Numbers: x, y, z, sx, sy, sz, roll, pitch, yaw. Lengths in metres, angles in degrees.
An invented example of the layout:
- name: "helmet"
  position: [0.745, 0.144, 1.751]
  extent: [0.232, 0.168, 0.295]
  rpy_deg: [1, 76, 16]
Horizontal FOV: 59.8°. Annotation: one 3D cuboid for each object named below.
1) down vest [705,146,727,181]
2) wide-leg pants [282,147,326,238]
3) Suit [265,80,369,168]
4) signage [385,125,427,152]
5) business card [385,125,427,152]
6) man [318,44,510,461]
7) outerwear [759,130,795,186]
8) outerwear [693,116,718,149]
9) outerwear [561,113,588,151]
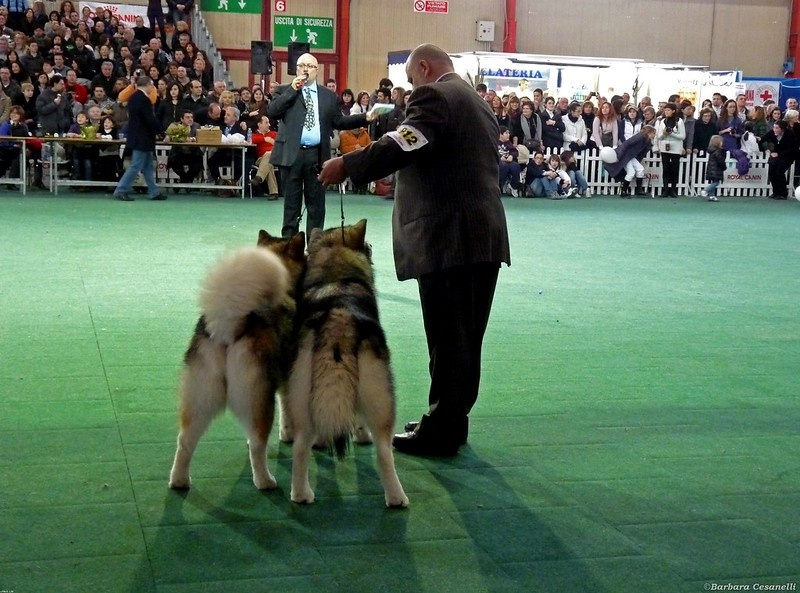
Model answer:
- name: "down vest"
  position: [9.033, -3.813, 19.858]
  extent: [0.497, 1.069, 0.657]
  rpy_deg: [8, 15, 23]
- name: "wide-leg pants"
  position: [-1.212, -1.381, 8.946]
  extent: [0.881, 0.331, 1.446]
  rpy_deg: [1, 53, -6]
- name: "Suit"
  position: [-1.081, -2.254, 9.096]
  extent: [1.219, 1.141, 0.554]
  rpy_deg: [5, 0, -7]
- name: "signage"
  position: [0.035, -0.786, 3.450]
  extent: [0.193, 0.126, 0.125]
  rpy_deg: [7, 15, 18]
- name: "business card"
  position: [0.035, -0.786, 3.450]
  extent: [0.193, 0.126, 0.125]
  rpy_deg: [7, 15, 18]
- name: "man"
  position: [0.113, -0.282, 4.156]
  extent: [1.147, 2.306, 1.097]
  rpy_deg: [1, -1, 6]
- name: "outerwear"
  position: [10.910, -4.328, 20.018]
  extent: [0.580, 1.315, 0.912]
  rpy_deg: [-3, 14, -18]
- name: "outerwear"
  position: [8.951, -4.724, 20.307]
  extent: [0.798, 0.923, 0.315]
  rpy_deg: [-2, 14, -14]
- name: "outerwear"
  position: [4.973, -4.657, 19.724]
  extent: [0.772, 0.891, 0.586]
  rpy_deg: [3, 14, 4]
